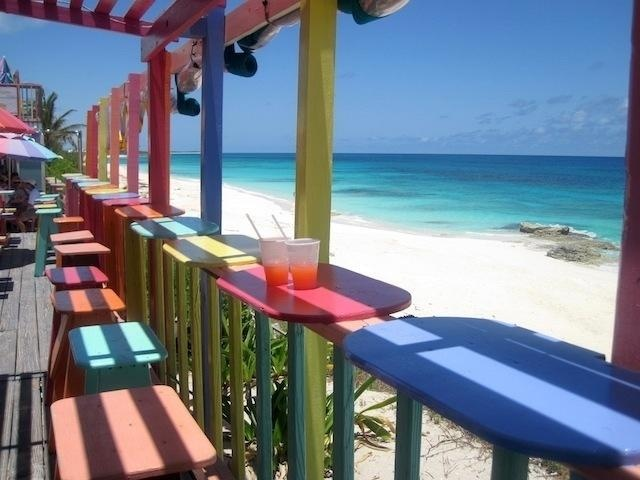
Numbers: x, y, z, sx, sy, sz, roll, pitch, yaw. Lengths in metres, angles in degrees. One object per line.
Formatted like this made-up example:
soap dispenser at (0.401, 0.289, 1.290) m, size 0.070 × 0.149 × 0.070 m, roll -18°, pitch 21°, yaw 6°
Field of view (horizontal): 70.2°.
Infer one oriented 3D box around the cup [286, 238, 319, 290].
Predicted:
cup at (-0.044, 0.064, 1.267) m, size 0.115 × 0.137 × 0.114 m, roll 0°, pitch 9°, yaw 0°

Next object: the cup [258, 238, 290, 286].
cup at (-0.122, 0.057, 1.315) m, size 0.110 × 0.127 × 0.112 m, roll 0°, pitch 11°, yaw 0°
